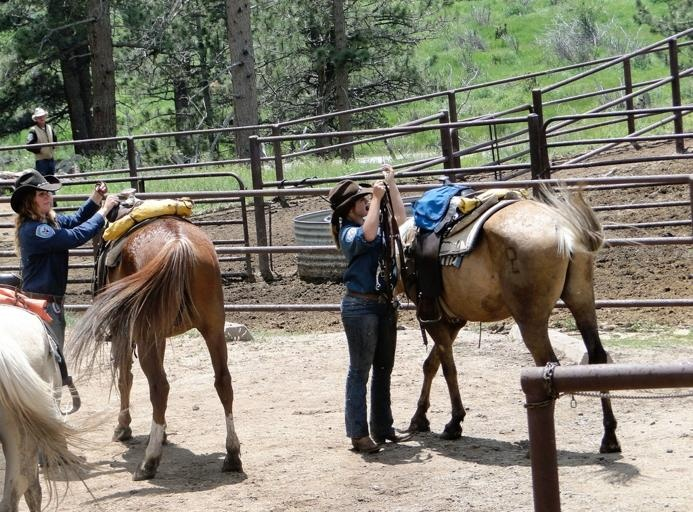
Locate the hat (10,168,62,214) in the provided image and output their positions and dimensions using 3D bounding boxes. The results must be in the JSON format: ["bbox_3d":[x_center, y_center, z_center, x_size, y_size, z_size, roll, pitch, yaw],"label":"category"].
[{"bbox_3d":[-2.860,-0.623,10.372,0.447,0.382,0.462,-5,7,-14],"label":"hat"}]

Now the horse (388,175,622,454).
[{"bbox_3d":[1.312,0.534,10.801,0.941,2.567,3.535,2,-9,-29],"label":"horse"}]

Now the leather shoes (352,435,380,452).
[{"bbox_3d":[0.175,1.687,10.145,0.250,0.104,0.121,-7,-5,41],"label":"leather shoes"}]

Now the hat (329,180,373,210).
[{"bbox_3d":[0.004,-0.584,10.195,0.329,0.121,0.278,-28,10,20],"label":"hat"}]
